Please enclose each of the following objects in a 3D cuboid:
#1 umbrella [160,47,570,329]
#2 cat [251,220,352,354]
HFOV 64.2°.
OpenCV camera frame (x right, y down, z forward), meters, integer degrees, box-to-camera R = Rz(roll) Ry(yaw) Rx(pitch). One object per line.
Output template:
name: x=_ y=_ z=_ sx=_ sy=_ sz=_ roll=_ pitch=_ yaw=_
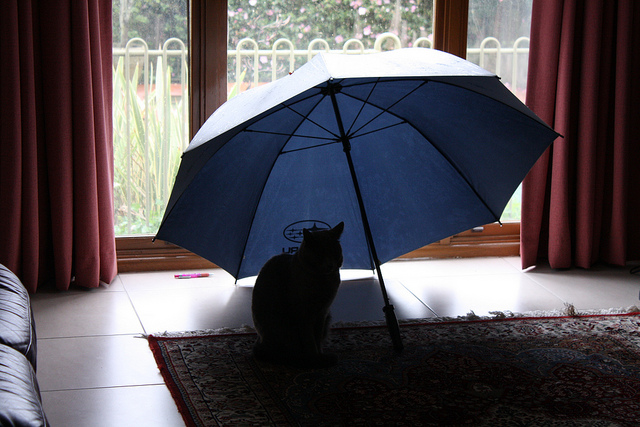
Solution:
umbrella: x=0.152 y=-0.133 z=2.274 sx=1.630 sy=1.148 sz=0.649 roll=-1 pitch=15 yaw=-4
cat: x=-0.066 y=0.326 z=2.185 sx=0.470 sy=0.544 sz=0.319 roll=-1 pitch=3 yaw=45
